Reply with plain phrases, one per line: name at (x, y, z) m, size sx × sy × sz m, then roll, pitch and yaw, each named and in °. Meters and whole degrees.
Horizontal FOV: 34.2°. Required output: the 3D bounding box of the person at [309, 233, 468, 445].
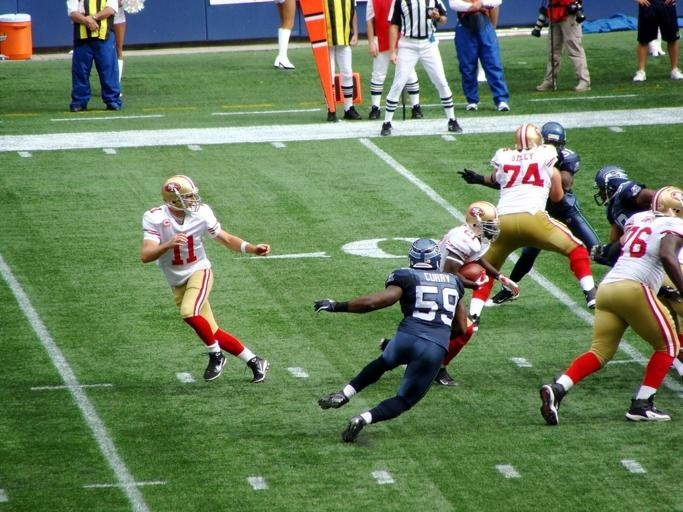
person at (0.398, 0.734, 8.995) m, size 1.167 × 1.379 × 0.708 m, roll 34°, pitch -5°, yaw -6°

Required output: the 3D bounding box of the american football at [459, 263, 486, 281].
american football at (1.097, 0.135, 9.153) m, size 0.186 × 0.101 × 0.134 m, roll -2°, pitch -13°, yaw -8°

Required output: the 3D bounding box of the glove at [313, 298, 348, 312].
glove at (-0.060, 0.367, 8.154) m, size 0.182 × 0.060 × 0.114 m, roll -11°, pitch 6°, yaw -29°

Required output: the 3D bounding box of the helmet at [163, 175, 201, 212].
helmet at (-1.304, -0.523, 8.956) m, size 0.349 × 0.253 × 0.243 m, roll 6°, pitch 17°, yaw 10°

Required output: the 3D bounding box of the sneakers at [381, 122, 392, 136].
sneakers at (0.614, -1.731, 15.056) m, size 0.158 × 0.192 × 0.210 m, roll -4°, pitch 13°, yaw 2°
